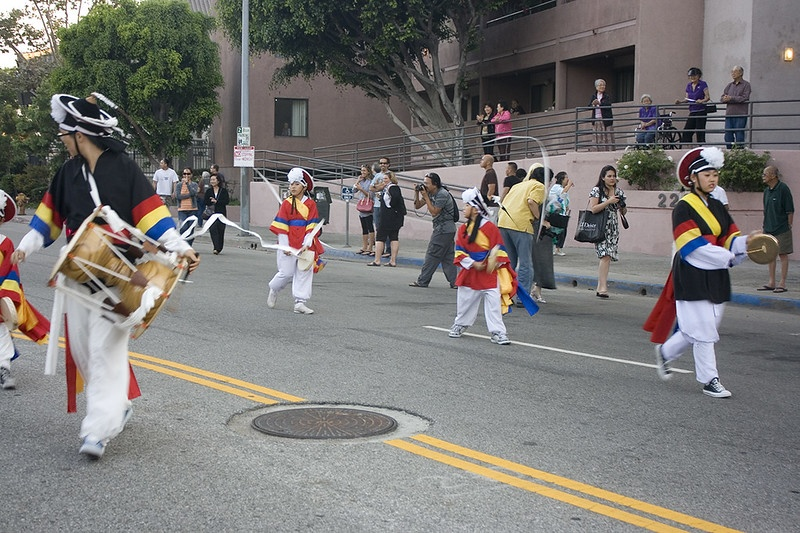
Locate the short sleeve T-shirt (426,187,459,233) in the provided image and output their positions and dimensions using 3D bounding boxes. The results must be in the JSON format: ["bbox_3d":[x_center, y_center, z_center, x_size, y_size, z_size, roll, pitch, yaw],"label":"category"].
[{"bbox_3d":[0.958,-1.197,14.490,0.907,1.231,0.885,0,0,-4],"label":"short sleeve T-shirt"}]

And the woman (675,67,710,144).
[{"bbox_3d":[8.710,-4.628,19.235,0.894,2.399,0.793,0,19,30],"label":"woman"}]

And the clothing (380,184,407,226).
[{"bbox_3d":[-0.185,-1.627,17.314,0.739,1.270,0.978,1,-5,-14],"label":"clothing"}]

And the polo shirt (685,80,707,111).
[{"bbox_3d":[8.635,-4.986,18.836,0.543,0.914,0.980,6,11,24],"label":"polo shirt"}]

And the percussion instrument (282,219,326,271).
[{"bbox_3d":[-1.479,-0.322,10.666,0.839,0.784,0.627,4,-1,-26],"label":"percussion instrument"}]

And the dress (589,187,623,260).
[{"bbox_3d":[4.238,-0.832,13.053,0.533,1.152,0.408,6,1,11],"label":"dress"}]

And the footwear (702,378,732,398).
[{"bbox_3d":[3.400,1.327,7.032,0.139,0.173,0.366,1,-3,-29],"label":"footwear"}]

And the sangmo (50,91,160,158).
[{"bbox_3d":[-2.458,-1.246,5.385,0.795,0.372,0.568,7,6,-15],"label":"sangmo"}]

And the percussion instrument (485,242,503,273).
[{"bbox_3d":[1.311,-0.114,9.085,0.088,0.321,0.246,14,-15,-6],"label":"percussion instrument"}]

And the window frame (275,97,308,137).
[{"bbox_3d":[-6.216,-8.503,36.471,2.296,2.236,0.172,1,2,-18],"label":"window frame"}]

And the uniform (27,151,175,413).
[{"bbox_3d":[-2.511,0.052,5.420,1.286,2.527,0.735,-1,13,-25],"label":"uniform"}]

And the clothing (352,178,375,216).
[{"bbox_3d":[-0.966,-2.108,19.117,0.795,1.017,0.453,9,16,35],"label":"clothing"}]

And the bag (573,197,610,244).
[{"bbox_3d":[3.793,-0.801,12.823,0.568,0.721,0.388,6,11,26],"label":"bag"}]

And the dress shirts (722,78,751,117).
[{"bbox_3d":[9.622,-4.825,18.503,0.677,1.037,1.012,6,11,25],"label":"dress shirts"}]

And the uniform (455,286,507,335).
[{"bbox_3d":[1.165,0.628,9.281,0.713,0.787,0.271,2,-2,20],"label":"uniform"}]

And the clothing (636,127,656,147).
[{"bbox_3d":[7.671,-4.064,20.235,0.594,0.626,1.374,5,11,20],"label":"clothing"}]

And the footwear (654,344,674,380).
[{"bbox_3d":[2.978,1.107,7.399,0.157,0.421,0.167,-14,10,-4],"label":"footwear"}]

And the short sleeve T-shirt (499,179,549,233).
[{"bbox_3d":[2.264,-1.138,11.963,0.636,1.021,0.869,8,-2,-26],"label":"short sleeve T-shirt"}]
